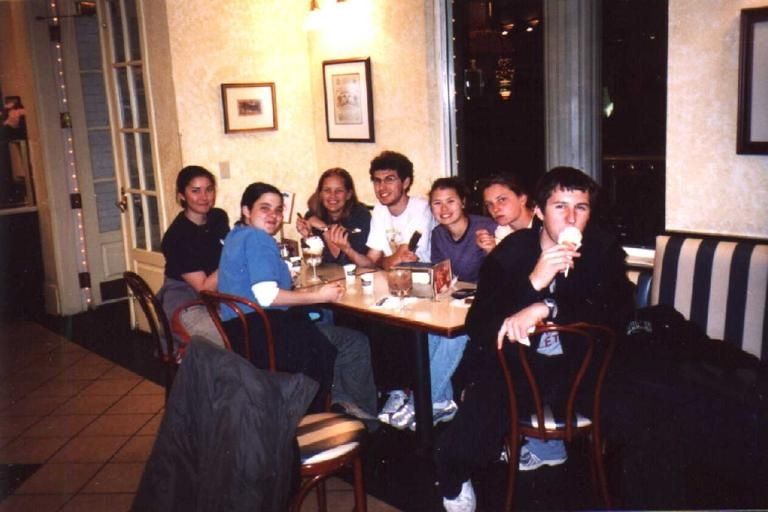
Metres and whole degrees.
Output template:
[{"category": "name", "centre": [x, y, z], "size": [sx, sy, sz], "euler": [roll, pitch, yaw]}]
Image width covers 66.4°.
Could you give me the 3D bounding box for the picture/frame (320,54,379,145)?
[{"category": "picture/frame", "centre": [-0.290, -1.410, 5.188], "size": [0.796, 0.841, 0.089], "euler": [9, 20, 36]}]

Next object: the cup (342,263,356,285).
[{"category": "cup", "centre": [-0.228, 0.113, 3.874], "size": [0.118, 0.118, 0.109], "euler": [0, 10, 0]}]

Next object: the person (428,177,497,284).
[{"category": "person", "centre": [0.491, -0.156, 3.801], "size": [0.488, 0.721, 0.453], "euler": [2, 10, 27]}]

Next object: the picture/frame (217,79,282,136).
[{"category": "picture/frame", "centre": [-1.219, -1.323, 5.182], "size": [0.522, 0.423, 0.036], "euler": [-12, 17, -36]}]

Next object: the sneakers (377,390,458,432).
[{"category": "sneakers", "centre": [0.206, 0.900, 3.498], "size": [0.338, 0.108, 0.239], "euler": [3, -3, -22]}]

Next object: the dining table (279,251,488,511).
[{"category": "dining table", "centre": [0.190, 0.494, 3.706], "size": [1.087, 1.258, 1.381], "euler": [-12, 14, -38]}]

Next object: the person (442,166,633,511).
[{"category": "person", "centre": [0.698, 0.493, 2.929], "size": [0.980, 1.842, 0.594], "euler": [2, 16, 21]}]

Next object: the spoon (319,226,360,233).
[{"category": "spoon", "centre": [-0.315, -0.201, 4.263], "size": [0.241, 0.068, 0.066], "euler": [-1, -8, 5]}]

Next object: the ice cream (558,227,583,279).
[{"category": "ice cream", "centre": [0.850, -0.026, 2.686], "size": [0.069, 0.224, 0.103], "euler": [24, -28, -39]}]

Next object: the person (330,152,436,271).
[{"category": "person", "centre": [-0.045, -0.268, 4.204], "size": [0.815, 0.867, 0.621], "euler": [-8, 4, -17]}]
